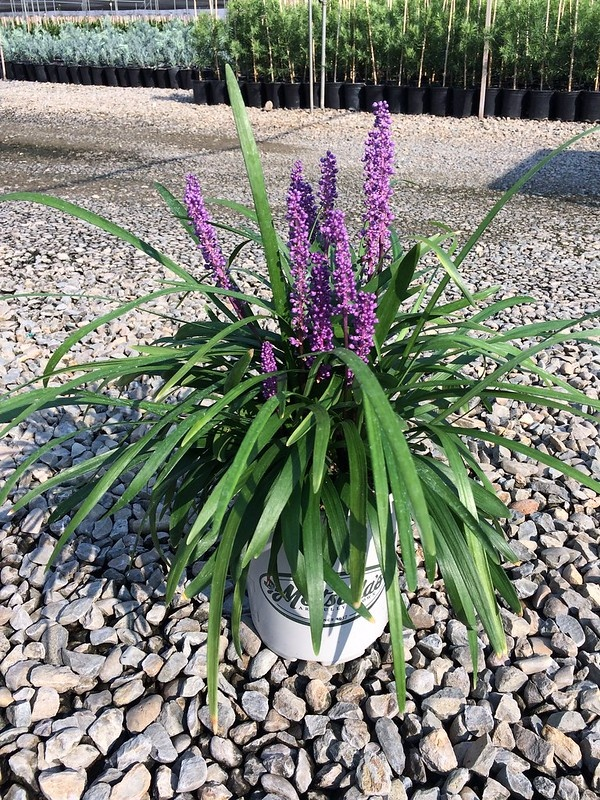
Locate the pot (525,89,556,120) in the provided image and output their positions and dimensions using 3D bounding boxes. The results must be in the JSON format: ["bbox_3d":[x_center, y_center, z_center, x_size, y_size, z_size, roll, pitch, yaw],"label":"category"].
[{"bbox_3d":[2.914,-3.566,6.783,0.361,0.343,0.343,-2,46,2],"label":"pot"}]

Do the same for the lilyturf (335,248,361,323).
[{"bbox_3d":[0.066,-0.156,0.808,0.030,0.129,0.112,-2,30,4],"label":"lilyturf"}]

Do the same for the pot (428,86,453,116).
[{"bbox_3d":[1.798,-3.826,7.224,0.266,0.329,0.124,14,35,29],"label":"pot"}]

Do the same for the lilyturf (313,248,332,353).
[{"bbox_3d":[0.030,-0.139,0.809,0.031,0.139,0.087,-3,30,3],"label":"lilyturf"}]

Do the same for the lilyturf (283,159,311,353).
[{"bbox_3d":[0.002,-0.215,0.894,0.044,0.279,0.235,-3,30,3],"label":"lilyturf"}]

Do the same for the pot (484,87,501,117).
[{"bbox_3d":[2.439,-3.728,7.061,0.173,0.299,0.108,20,38,35],"label":"pot"}]

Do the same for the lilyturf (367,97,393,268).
[{"bbox_3d":[0.137,-0.352,0.961,0.046,0.283,0.235,0,30,8],"label":"lilyturf"}]

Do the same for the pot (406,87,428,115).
[{"bbox_3d":[1.542,-3.905,7.313,0.240,0.250,0.229,-1,55,1],"label":"pot"}]

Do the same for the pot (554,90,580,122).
[{"bbox_3d":[3.184,-3.484,6.683,0.310,0.308,0.297,-2,33,1],"label":"pot"}]

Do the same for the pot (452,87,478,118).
[{"bbox_3d":[2.105,-3.747,7.094,0.322,0.329,0.270,0,30,7],"label":"pot"}]

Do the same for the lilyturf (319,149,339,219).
[{"bbox_3d":[0.045,-0.351,0.906,0.028,0.092,0.093,-3,30,3],"label":"lilyturf"}]

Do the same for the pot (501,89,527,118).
[{"bbox_3d":[2.649,-3.647,6.923,0.349,0.337,0.332,-3,44,3],"label":"pot"}]
